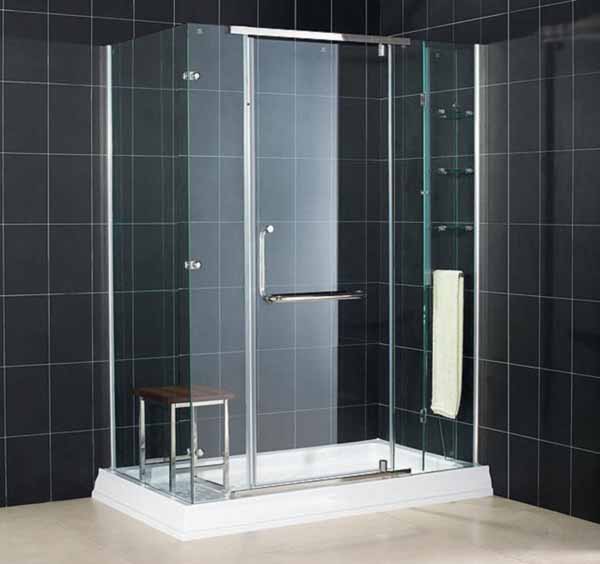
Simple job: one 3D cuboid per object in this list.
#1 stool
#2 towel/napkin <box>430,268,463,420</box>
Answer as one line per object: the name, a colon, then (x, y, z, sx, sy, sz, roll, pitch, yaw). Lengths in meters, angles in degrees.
stool: (-0.523, 0.690, 2.873, 0.406, 0.468, 0.338, -11, -13, 43)
towel/napkin: (0.709, 0.301, 3.093, 0.212, 0.723, 0.046, 1, -2, -37)
